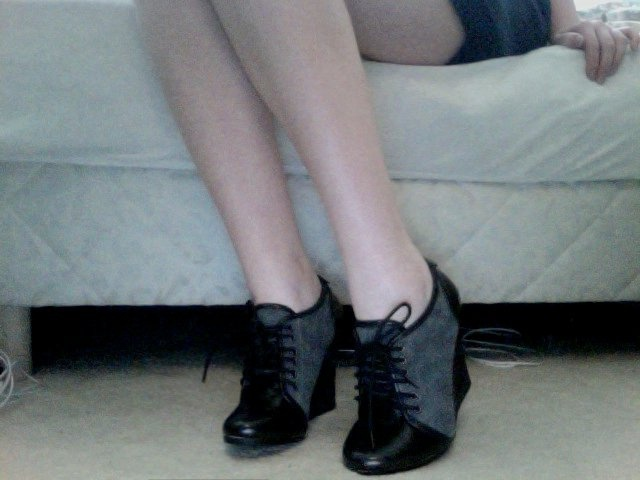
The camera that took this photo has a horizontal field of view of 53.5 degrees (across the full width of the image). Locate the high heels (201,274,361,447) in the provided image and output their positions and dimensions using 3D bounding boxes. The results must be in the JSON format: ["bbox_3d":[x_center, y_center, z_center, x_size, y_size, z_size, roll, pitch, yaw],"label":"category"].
[{"bbox_3d":[-0.036,0.197,0.955,0.106,0.145,0.310,-3,5,15],"label":"high heels"}]

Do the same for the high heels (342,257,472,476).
[{"bbox_3d":[0.152,0.167,0.967,0.119,0.147,0.348,-7,35,34],"label":"high heels"}]
